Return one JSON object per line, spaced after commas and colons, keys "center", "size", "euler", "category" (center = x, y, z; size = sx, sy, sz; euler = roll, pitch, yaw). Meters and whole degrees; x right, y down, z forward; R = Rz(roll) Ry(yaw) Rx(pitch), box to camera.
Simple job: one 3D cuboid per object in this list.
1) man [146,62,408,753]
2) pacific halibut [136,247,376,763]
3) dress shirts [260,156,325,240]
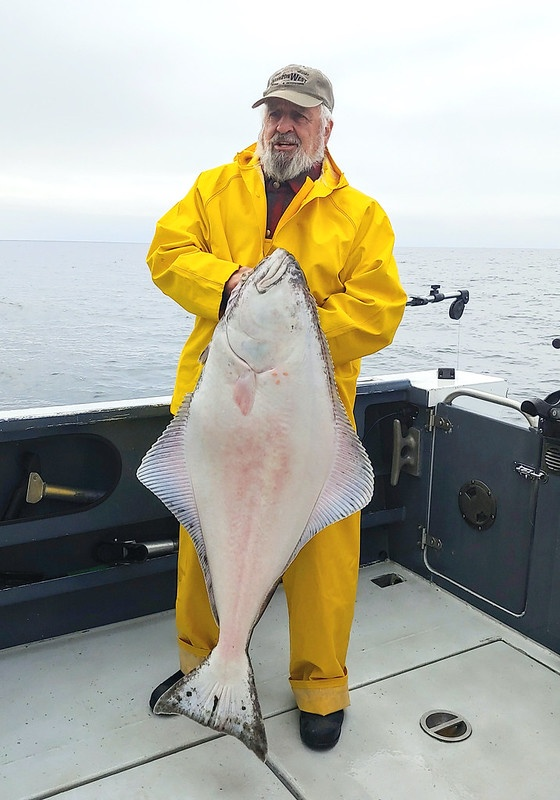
{"center": [-0.033, 0.053, 1.850], "size": [0.652, 1.753, 0.532], "euler": [6, 9, 12], "category": "man"}
{"center": [-0.063, 0.233, 1.493], "size": [0.492, 1.084, 0.185], "euler": [3, 12, 13], "category": "pacific halibut"}
{"center": [0.036, -0.514, 1.788], "size": [0.141, 0.180, 0.098], "euler": [12, 10, 15], "category": "dress shirts"}
